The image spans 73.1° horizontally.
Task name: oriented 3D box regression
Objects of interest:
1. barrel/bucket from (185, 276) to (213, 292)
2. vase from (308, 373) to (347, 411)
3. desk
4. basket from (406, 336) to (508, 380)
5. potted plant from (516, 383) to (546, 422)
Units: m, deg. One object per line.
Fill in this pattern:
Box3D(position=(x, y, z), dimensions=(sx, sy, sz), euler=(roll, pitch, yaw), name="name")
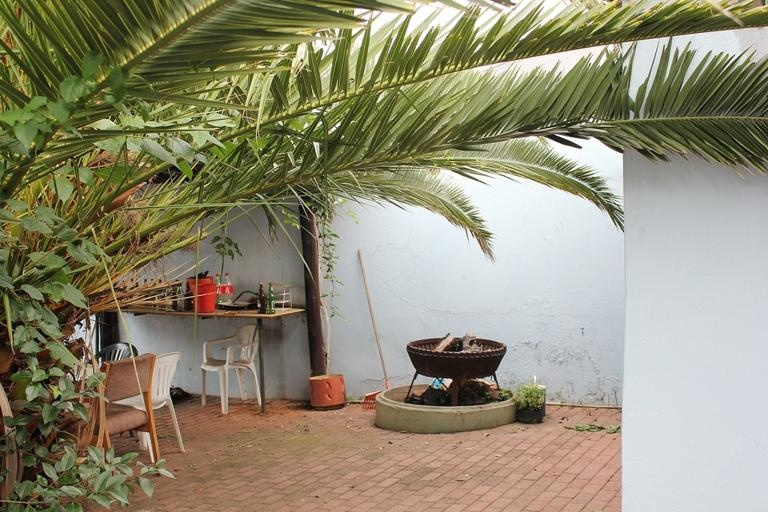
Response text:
Box3D(position=(-1.811, 0.282, 5.114), dimensions=(0.208, 0.203, 0.197), euler=(1, 3, 0), name="barrel/bucket")
Box3D(position=(-0.670, 1.663, 6.291), dimensions=(0.464, 0.347, 0.471), euler=(0, -9, -44), name="vase")
Box3D(position=(-1.934, 1.220, 6.023), dimensions=(2.765, 1.603, 1.136), euler=(-1, 0, 25), name="desk")
Box3D(position=(0.796, 1.032, 5.322), dimensions=(0.990, 0.249, 0.944), euler=(0, -1, -11), name="basket")
Box3D(position=(1.427, 1.476, 5.238), dimensions=(0.360, 0.375, 0.345), euler=(-1, -1, 4), name="potted plant")
